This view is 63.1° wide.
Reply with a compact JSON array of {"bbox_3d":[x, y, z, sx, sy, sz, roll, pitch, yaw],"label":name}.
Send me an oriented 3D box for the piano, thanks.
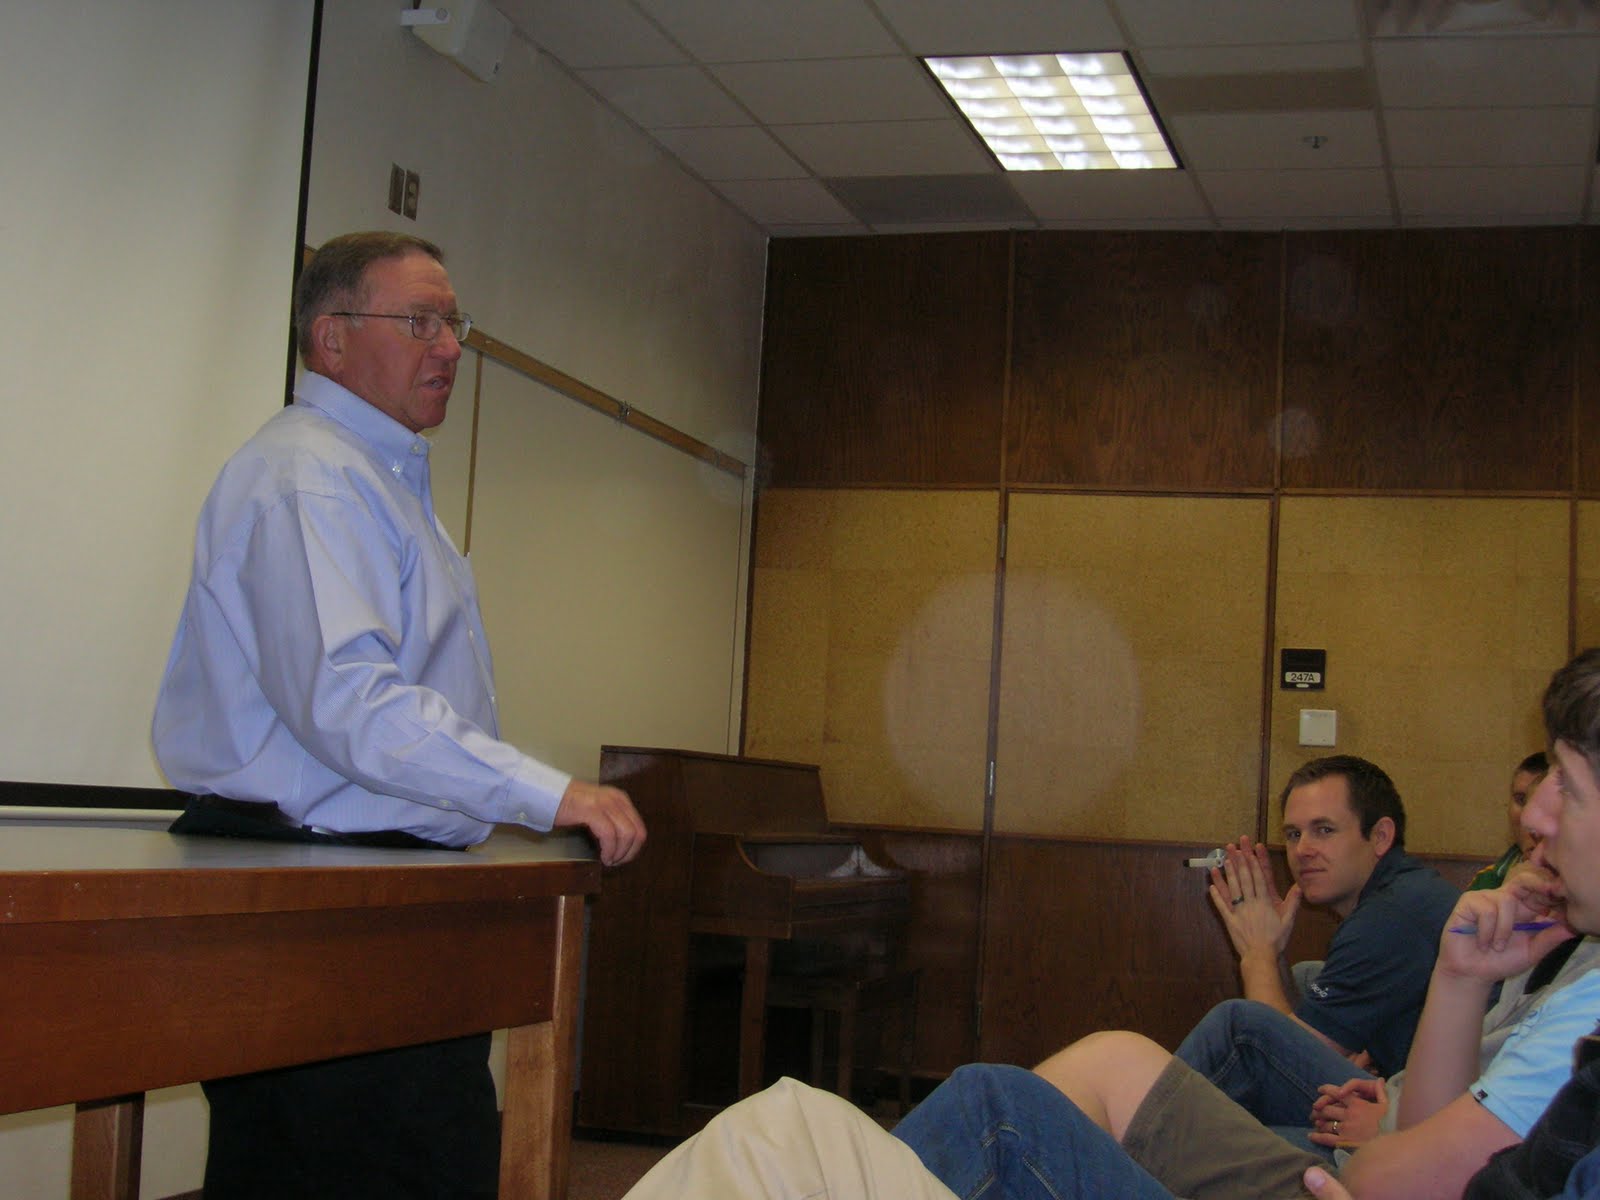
[{"bbox_3d":[-0.054,1.195,5.266,1.034,1.870,1.884,-3,-9,17],"label":"piano"}]
